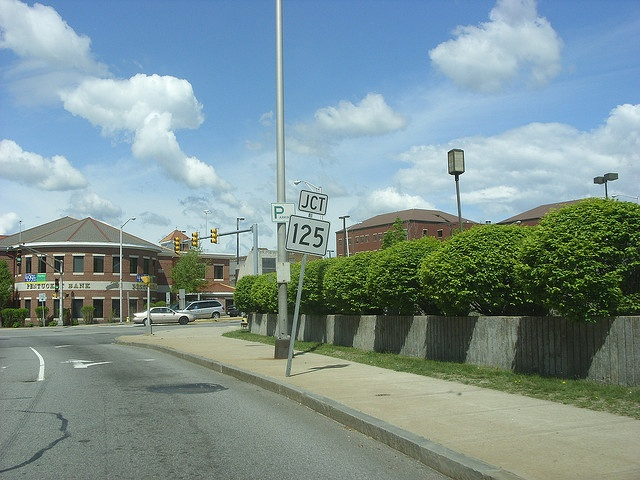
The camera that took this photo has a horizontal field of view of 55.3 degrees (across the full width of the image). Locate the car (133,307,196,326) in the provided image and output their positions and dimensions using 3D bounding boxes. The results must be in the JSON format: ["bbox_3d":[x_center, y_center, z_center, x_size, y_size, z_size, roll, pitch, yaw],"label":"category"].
[{"bbox_3d":[-12.840,6.414,50.448,4.278,1.410,1.892,-2,-2,-16],"label":"car"}]

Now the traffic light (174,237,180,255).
[{"bbox_3d":[-8.728,0.352,37.611,0.317,1.003,1.625,-2,-1,-13],"label":"traffic light"}]

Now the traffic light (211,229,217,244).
[{"bbox_3d":[-6.394,-0.229,37.023,0.419,0.929,2.284,-2,-1,-11],"label":"traffic light"}]

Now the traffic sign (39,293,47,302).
[{"bbox_3d":[-25.876,5.380,56.986,0.838,0.782,0.113,1,5,40],"label":"traffic sign"}]

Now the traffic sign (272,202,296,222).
[{"bbox_3d":[-1.119,-0.842,18.828,0.694,0.570,0.428,-2,0,-4],"label":"traffic sign"}]

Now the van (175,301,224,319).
[{"bbox_3d":[-10.333,6.381,55.431,2.976,1.082,1.532,6,-8,-29],"label":"van"}]
